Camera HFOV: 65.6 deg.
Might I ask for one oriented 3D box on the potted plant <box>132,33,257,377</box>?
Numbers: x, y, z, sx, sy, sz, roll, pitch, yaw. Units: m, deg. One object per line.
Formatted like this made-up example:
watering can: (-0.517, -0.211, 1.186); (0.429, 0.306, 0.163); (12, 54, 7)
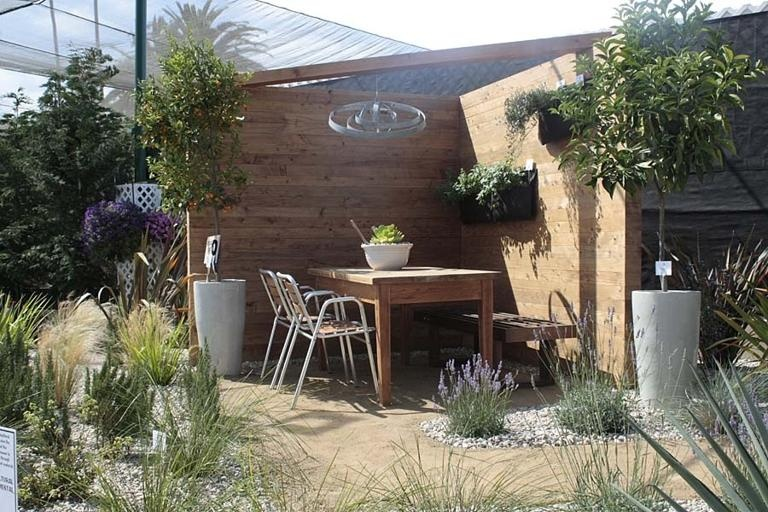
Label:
potted plant: (-1.790, -0.441, 6.755); (1.671, 3.530, 1.387); (-5, -3, -29)

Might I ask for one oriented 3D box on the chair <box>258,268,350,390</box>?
chair: (-0.592, 0.750, 5.930); (1.012, 1.218, 0.850); (-3, 7, -16)

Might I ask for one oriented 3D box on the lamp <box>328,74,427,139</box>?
lamp: (-0.061, -1.764, 6.923); (1.276, 0.492, 1.228); (-1, 1, -21)

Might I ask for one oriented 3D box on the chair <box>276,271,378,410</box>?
chair: (-0.564, 0.753, 5.788); (0.987, 1.103, 0.855); (0, 2, -12)

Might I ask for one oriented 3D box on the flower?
flower: (-3.988, -0.427, 9.279); (1.283, 1.051, 0.845); (13, -26, -20)

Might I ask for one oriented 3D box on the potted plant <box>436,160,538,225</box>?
potted plant: (1.348, -0.721, 6.970); (1.029, 0.449, 0.924); (-7, -9, -27)

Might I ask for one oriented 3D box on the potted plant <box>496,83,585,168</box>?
potted plant: (1.546, -1.377, 6.261); (0.691, 0.666, 0.950); (4, 9, 41)

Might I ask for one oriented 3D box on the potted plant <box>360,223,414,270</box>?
potted plant: (0.026, -0.086, 6.444); (0.594, 0.465, 0.581); (-2, 9, -14)
